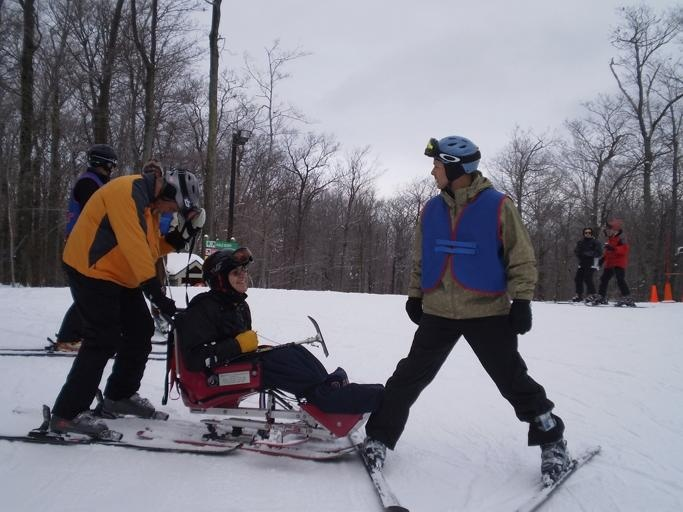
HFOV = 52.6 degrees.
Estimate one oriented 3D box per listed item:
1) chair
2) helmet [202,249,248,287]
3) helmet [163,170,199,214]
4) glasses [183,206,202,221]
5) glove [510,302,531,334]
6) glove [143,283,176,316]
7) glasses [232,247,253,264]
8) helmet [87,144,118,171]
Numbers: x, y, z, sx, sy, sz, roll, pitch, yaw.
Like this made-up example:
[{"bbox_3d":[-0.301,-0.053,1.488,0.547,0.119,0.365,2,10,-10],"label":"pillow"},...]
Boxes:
[{"bbox_3d":[-1.692,1.237,8.947,1.242,1.196,0.944,2,24,-7],"label":"chair"},{"bbox_3d":[-1.498,0.139,8.907,0.486,0.454,0.462,4,-2,1],"label":"helmet"},{"bbox_3d":[-2.038,-0.838,8.921,0.524,0.553,0.385,-3,24,-35],"label":"helmet"},{"bbox_3d":[-1.931,-0.556,8.910,0.175,0.069,0.139,5,27,18],"label":"glasses"},{"bbox_3d":[2.170,0.729,8.298,0.242,0.408,0.146,1,-2,14],"label":"glove"},{"bbox_3d":[-2.266,0.524,8.565,0.173,0.452,0.301,-39,52,-24],"label":"glove"},{"bbox_3d":[-1.271,0.005,8.910,0.211,0.179,0.181,-8,-11,23],"label":"glasses"},{"bbox_3d":[-3.412,-1.456,9.770,0.386,0.392,0.320,-14,29,-36],"label":"helmet"}]
